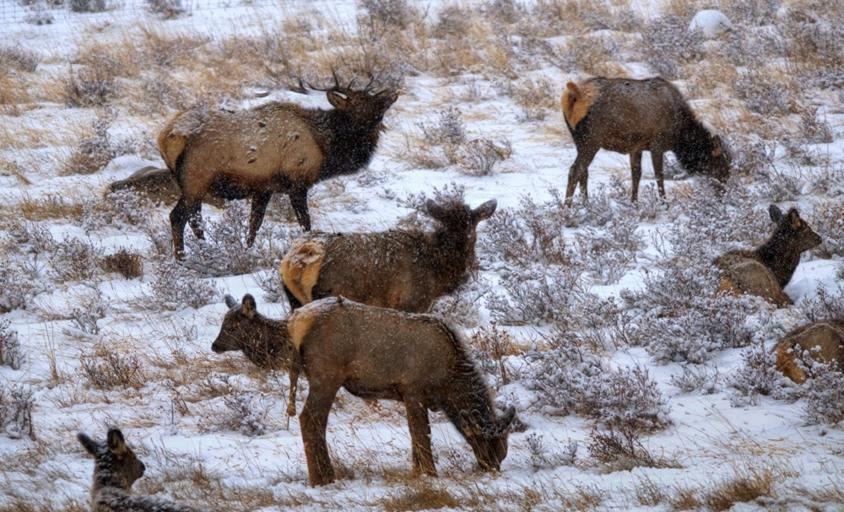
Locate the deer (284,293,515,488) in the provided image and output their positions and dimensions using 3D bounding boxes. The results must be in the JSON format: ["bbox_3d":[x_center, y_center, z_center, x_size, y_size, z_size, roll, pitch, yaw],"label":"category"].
[{"bbox_3d":[-0.511,2.414,23.889,3.675,3.239,1.414,-5,23,3],"label":"deer"}]

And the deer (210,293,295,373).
[{"bbox_3d":[-3.303,1.547,25.402,1.994,1.956,0.925,3,-4,2],"label":"deer"}]

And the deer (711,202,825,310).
[{"bbox_3d":[7.117,0.025,26.733,2.352,1.629,1.396,-26,30,-35],"label":"deer"}]

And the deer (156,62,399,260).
[{"bbox_3d":[-3.265,-1.988,29.299,7.023,5.214,3.094,-3,-1,-6],"label":"deer"}]
